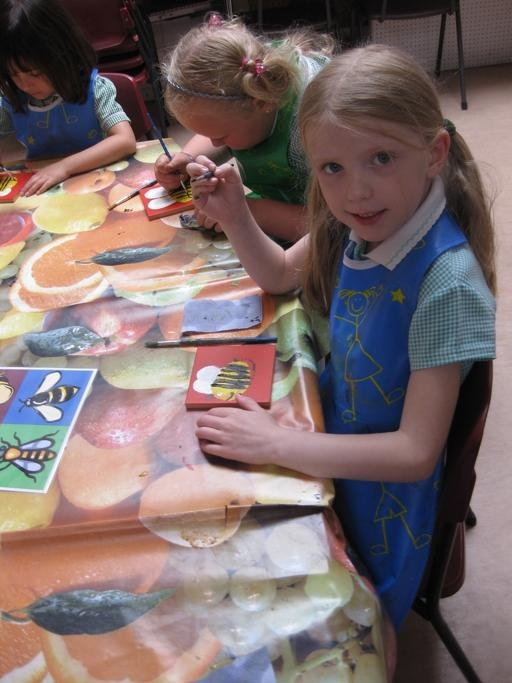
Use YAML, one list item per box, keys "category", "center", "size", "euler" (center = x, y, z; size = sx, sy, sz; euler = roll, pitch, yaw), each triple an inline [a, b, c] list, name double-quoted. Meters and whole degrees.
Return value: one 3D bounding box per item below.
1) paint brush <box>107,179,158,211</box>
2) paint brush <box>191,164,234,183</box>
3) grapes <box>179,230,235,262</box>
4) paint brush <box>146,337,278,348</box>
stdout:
- category: "paint brush"
  center: [-0.265, -0.314, 1.273]
  size: [0.151, 0.021, 0.025]
  euler: [-35, 58, -24]
- category: "paint brush"
  center: [-0.073, -0.283, 0.993]
  size: [0.046, 0.013, 0.009]
  euler: [-42, 53, -9]
- category: "grapes"
  center: [-0.088, -0.173, 1.077]
  size: [0.104, 0.031, 0.111]
  euler: [-1, 27, -2]
- category: "paint brush"
  center: [-0.057, 0.001, 0.867]
  size: [0.102, 0.007, 0.007]
  euler: [-4, 26, 0]
